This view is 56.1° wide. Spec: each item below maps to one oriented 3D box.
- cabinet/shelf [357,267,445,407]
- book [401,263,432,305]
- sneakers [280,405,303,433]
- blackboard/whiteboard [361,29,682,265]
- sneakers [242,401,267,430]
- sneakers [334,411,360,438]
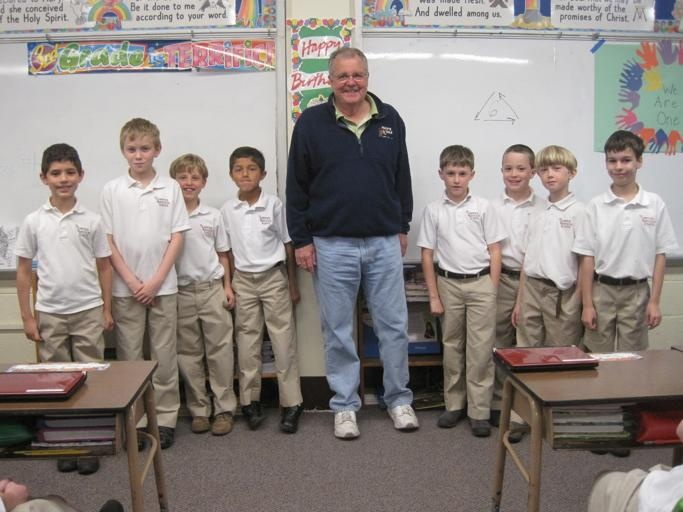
[{"bbox_3d":[0.397,0.463,3.899,0.495,0.997,0.808,0,16,3],"label":"cabinet/shelf"},{"bbox_3d":[0.427,0.155,3.719,0.190,0.195,0.046,-1,-6,-4],"label":"book"},{"bbox_3d":[-0.277,0.883,3.466,0.062,0.081,0.188,-1,-7,2],"label":"sneakers"},{"bbox_3d":[0.925,-0.616,3.593,1.333,0.965,0.101,-1,3,-1],"label":"blackboard/whiteboard"},{"bbox_3d":[-0.493,0.891,3.594,0.074,0.137,0.201,-14,-18,-32],"label":"sneakers"},{"bbox_3d":[0.028,0.882,3.447,0.136,0.108,0.220,-3,10,0],"label":"sneakers"}]
